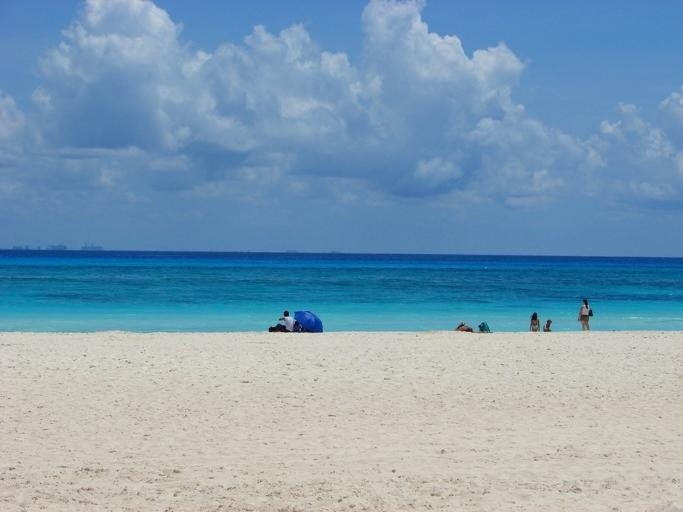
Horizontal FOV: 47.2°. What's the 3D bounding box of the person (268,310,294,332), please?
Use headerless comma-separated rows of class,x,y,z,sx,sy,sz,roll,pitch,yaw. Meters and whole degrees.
person,-2.640,2.905,35.656,1.119,0.949,1.988,0,13,-4

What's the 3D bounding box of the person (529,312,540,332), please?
person,9.389,3.166,37.983,0.337,0.860,0.553,2,13,7

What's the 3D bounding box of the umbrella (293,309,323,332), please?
umbrella,-1.515,2.981,35.648,1.229,0.705,1.329,-1,13,-6

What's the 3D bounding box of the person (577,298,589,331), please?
person,11.984,2.890,38.558,0.467,1.652,1.057,4,14,15
